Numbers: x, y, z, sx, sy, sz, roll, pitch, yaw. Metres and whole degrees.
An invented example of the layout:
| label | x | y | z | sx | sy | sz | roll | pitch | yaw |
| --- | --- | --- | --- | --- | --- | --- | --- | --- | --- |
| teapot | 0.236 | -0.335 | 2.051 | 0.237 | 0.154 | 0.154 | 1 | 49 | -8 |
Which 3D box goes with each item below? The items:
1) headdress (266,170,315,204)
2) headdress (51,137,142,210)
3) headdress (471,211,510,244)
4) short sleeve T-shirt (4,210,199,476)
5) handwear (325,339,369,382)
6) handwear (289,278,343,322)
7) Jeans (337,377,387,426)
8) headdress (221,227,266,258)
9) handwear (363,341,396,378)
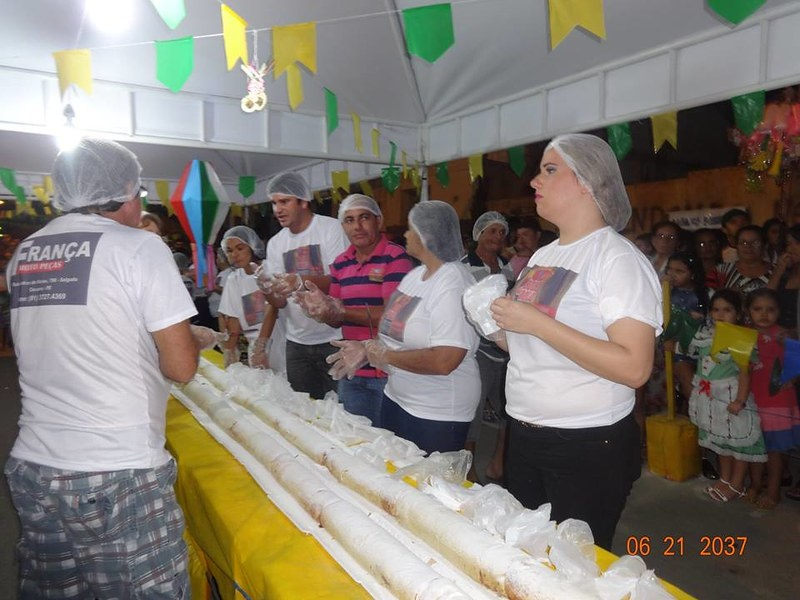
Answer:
| label | x | y | z | sx | sy | sz | roll | pitch | yaw |
| --- | --- | --- | --- | --- | --- | --- | --- | --- | --- |
| headdress | -0.735 | -0.756 | 3.681 | 0.178 | 0.204 | 0.246 | 0 | 17 | 35 |
| headdress | -1.130 | -0.480 | 2.078 | 0.269 | 0.252 | 0.279 | -16 | 29 | -39 |
| headdress | 0.705 | -0.609 | 4.491 | 0.221 | 0.127 | 0.274 | 0 | -25 | -14 |
| short sleeve T-shirt | -1.083 | 0.173 | 1.938 | 0.684 | 0.868 | 0.296 | -1 | 10 | 11 |
| handwear | -0.275 | 0.320 | 2.890 | 0.267 | 0.166 | 0.086 | -20 | -26 | 19 |
| handwear | -0.499 | 0.026 | 3.250 | 0.330 | 0.202 | 0.114 | 39 | -8 | 3 |
| Jeans | -0.211 | 0.573 | 3.138 | 0.328 | 0.168 | 0.111 | 15 | 8 | 2 |
| headdress | -1.251 | -0.477 | 4.450 | 0.255 | 0.121 | 0.302 | 11 | -32 | 15 |
| handwear | -0.102 | 0.291 | 2.719 | 0.165 | 0.151 | 0.131 | 25 | 27 | -32 |
